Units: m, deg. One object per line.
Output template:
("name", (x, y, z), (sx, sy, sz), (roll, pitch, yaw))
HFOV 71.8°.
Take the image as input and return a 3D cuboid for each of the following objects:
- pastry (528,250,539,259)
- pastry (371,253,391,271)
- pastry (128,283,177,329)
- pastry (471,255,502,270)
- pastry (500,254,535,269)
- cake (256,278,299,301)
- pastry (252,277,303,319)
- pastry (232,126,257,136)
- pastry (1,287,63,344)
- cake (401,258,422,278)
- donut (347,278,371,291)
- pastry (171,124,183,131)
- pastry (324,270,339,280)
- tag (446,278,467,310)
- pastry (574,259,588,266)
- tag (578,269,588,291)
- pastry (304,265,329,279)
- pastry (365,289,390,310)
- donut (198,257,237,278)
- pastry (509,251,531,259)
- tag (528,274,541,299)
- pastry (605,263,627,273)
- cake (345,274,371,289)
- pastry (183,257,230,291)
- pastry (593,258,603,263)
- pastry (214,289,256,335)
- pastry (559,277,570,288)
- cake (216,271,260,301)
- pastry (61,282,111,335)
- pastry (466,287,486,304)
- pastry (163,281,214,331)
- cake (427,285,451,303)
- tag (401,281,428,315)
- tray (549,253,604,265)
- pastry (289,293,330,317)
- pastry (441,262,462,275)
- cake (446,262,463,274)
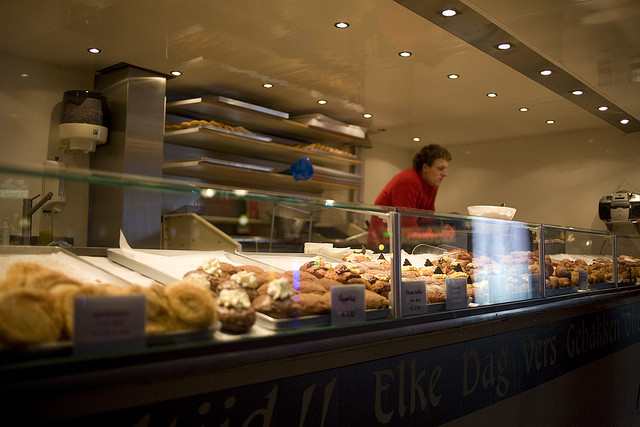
("pastry", (0.999, 0.196, 2.077), (0.053, 0.031, 0.020), (-16, 19, -36))
("pastry", (0.202, 0.178, 1.493), (0.053, 0.040, 0.016), (0, 17, 8))
("pastry", (-0.407, 0.233, 1.103), (0.056, 0.113, 0.090), (-39, 7, -14))
("pastry", (0.689, 0.207, 1.838), (0.087, 0.023, 0.083), (10, -4, -28))
("pastry", (0.877, 0.220, 1.978), (0.099, 0.025, 0.095), (-1, -4, -18))
("cake", (-0.130, 0.215, 1.289), (0.077, 0.024, 0.075), (2, 4, 16))
("pastry", (-0.129, 0.239, 1.308), (0.125, 0.110, 0.120), (-2, 4, -16))
("pastry", (-0.729, -0.776, 4.157), (0.128, 0.044, 0.099), (20, 6, 32))
("pastry", (-0.662, 0.238, 1.016), (0.119, 0.123, 0.043), (4, -6, -28))
("cake", (0.330, 0.197, 1.546), (0.016, 0.064, 0.065), (-27, 16, 35))
("donut", (0.127, 0.233, 1.446), (0.086, 0.037, 0.029), (5, -6, -40))
("pastry", (-1.251, -0.742, 3.860), (0.079, 0.022, 0.086), (11, 12, 12))
("pastry", (0.042, 0.201, 1.443), (0.030, 0.009, 0.029), (23, 25, 14))
("tag", (0.508, 0.307, 1.666), (0.128, 0.118, 0.012), (4, -11, -36))
("pastry", (1.444, 0.265, 2.442), (0.055, 0.015, 0.054), (-1, 22, -42))
("tag", (1.426, 0.367, 2.403), (0.127, 0.131, 0.011), (3, -6, -39))
("pastry", (-0.009, 0.188, 1.436), (0.042, 0.014, 0.051), (12, 13, 15))
("pastry", (0.180, 0.288, 1.445), (0.093, 0.042, 0.033), (7, -10, -34))
("donut", (-0.321, 0.163, 1.370), (0.068, 0.027, 0.070), (12, 3, 43))
("pastry", (0.898, 0.185, 1.993), (0.061, 0.023, 0.046), (-2, 5, 23))
("tag", (0.995, 0.347, 2.060), (0.123, 0.114, 0.014), (3, -6, -45))
("pastry", (1.864, 0.350, 2.783), (0.120, 0.039, 0.118), (-2, -4, 23))
("cake", (0.125, 0.219, 1.451), (0.067, 0.021, 0.051), (12, 2, 44))
("pastry", (-0.340, 0.179, 1.329), (0.109, 0.081, 0.110), (3, 8, -32))
("pastry", (1.641, 0.281, 2.612), (0.049, 0.014, 0.037), (14, -6, -16))
("pastry", (-0.238, 0.274, 1.231), (0.110, 0.118, 0.065), (3, -5, -13))
("pastry", (1.252, 0.354, 2.266), (0.062, 0.030, 0.061), (-8, 9, -30))
("cake", (-0.235, 0.211, 1.286), (0.096, 0.032, 0.078), (2, -1, 22))
("pastry", (-0.555, 0.225, 1.042), (0.097, 0.108, 0.027), (4, -6, -27))
("pastry", (0.620, 0.325, 1.777), (0.082, 0.030, 0.067), (7, -4, 15))
("pastry", (-0.338, 0.239, 1.144), (0.124, 0.115, 0.058), (1, -19, -36))
("cake", (0.431, 0.297, 1.618), (0.102, 0.064, 0.021), (5, -6, -39))
("tag", (0.315, 0.297, 1.558), (0.151, 0.119, 0.048), (6, -10, -37))
("tray", (1.379, 0.250, 2.395), (0.641, 0.061, 0.026), (5, -6, -42))
("pastry", (-0.027, 0.275, 1.323), (0.097, 0.029, 0.066), (5, 6, -21))
("pastry", (0.508, 0.219, 1.731), (0.050, 0.045, 0.013), (-3, -27, -8))
("cake", (0.528, 0.219, 1.742), (0.078, 0.041, 0.019), (5, -6, -36))
